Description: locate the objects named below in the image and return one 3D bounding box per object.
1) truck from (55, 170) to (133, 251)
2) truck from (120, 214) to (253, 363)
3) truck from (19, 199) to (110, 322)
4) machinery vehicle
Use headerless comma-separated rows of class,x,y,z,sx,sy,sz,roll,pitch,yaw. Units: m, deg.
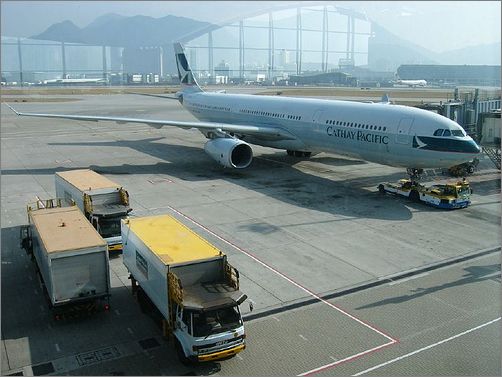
truck,-7.478,1.018,18.393,5.307,1.800,2.027,23,27,40
truck,-1.794,2.834,14.259,2.994,2.387,6.642,-11,20,-31
truck,-7.219,2.888,15.255,2.732,1.621,5.367,-9,24,-33
machinery vehicle,11.842,0.312,26.828,2.942,0.874,4.209,-7,12,-32
